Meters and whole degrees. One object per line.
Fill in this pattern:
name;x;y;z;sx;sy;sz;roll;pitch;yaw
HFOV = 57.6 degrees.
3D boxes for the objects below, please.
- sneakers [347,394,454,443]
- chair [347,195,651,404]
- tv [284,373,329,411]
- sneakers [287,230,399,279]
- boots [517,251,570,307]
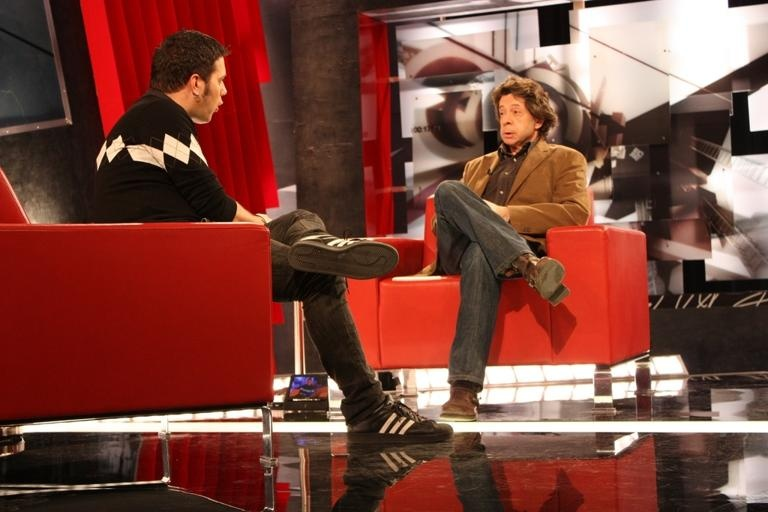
sneakers;0.055;0.621;2.676;0.454;0.177;0.158;-1;-4;1
chair;0.616;0.107;3.295;1.320;0.849;0.716;-4;-13;23
tv;-0.334;0.644;3.289;0.244;0.202;0.127;1;-15;8
sneakers;-0.137;-0.005;2.551;0.403;0.151;0.189;7;14;-4
boots;0.671;0.095;2.902;0.093;0.176;0.172;-48;16;-11
